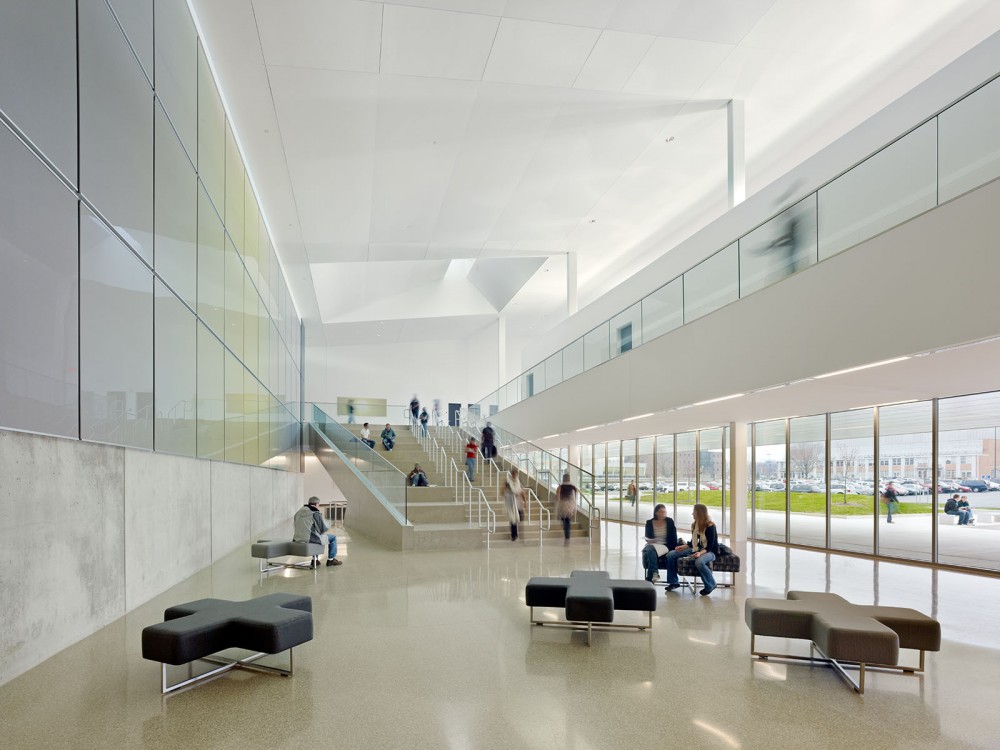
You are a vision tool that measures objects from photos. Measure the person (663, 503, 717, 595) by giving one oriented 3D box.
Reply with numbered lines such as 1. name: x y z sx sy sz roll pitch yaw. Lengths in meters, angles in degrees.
1. person: 3.175 2.868 11.917 0.812 1.424 0.772 -1 -3 26

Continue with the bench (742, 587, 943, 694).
1. bench: 3.862 3.047 8.203 1.977 0.715 1.305 -2 -4 29

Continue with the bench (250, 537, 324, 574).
1. bench: -4.106 3.500 14.167 1.360 0.547 1.297 1 -4 -8

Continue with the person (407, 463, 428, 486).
1. person: -2.399 2.920 20.852 0.566 0.779 0.466 1 -12 -8

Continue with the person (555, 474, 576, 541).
1. person: 1.718 3.476 18.273 0.437 1.474 1.439 0 -3 6

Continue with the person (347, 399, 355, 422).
1. person: -6.877 1.644 33.195 0.446 1.000 0.230 1 -3 -17

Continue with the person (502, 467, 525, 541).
1. person: 0.402 3.173 17.358 0.517 1.878 0.478 -5 14 -5

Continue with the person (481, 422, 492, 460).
1. person: -0.368 2.180 23.270 0.383 1.095 0.492 0 -3 -2

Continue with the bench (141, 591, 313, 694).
1. bench: -2.984 2.984 8.034 1.692 0.748 1.209 1 -4 -13

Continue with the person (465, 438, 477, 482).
1. person: -0.863 2.586 21.512 0.283 1.199 0.672 1 -3 -7
